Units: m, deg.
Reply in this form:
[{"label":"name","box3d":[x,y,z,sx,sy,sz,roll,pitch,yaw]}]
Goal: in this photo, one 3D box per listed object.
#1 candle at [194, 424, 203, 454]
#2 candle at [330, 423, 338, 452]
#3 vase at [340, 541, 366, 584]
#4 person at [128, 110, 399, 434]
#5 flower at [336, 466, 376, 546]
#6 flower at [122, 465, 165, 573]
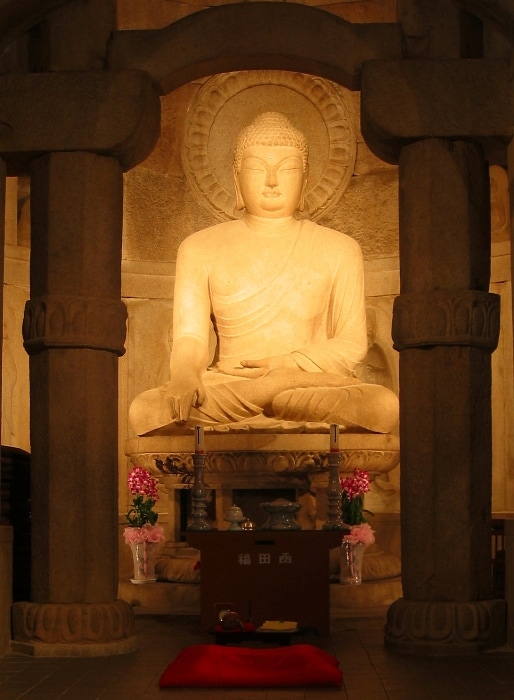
[{"label":"candle","box3d":[-0.242,0.372,5.253,0.027,0.109,0.047,1,-7,-7]},{"label":"candle","box3d":[0.316,0.359,5.203,0.030,0.109,0.041,0,-7,-2]},{"label":"vase","box3d":[0.420,0.940,5.629,0.104,0.183,0.152,-1,-7,4]},{"label":"person","box3d":[0.031,-0.436,6.552,1.246,1.779,1.029,-1,-7,5]},{"label":"flower","box3d":[0.446,0.709,5.796,0.222,0.277,0.213,1,0,7]},{"label":"flower","box3d":[-0.546,0.801,5.854,0.220,0.507,0.195,1,-11,-4]}]
